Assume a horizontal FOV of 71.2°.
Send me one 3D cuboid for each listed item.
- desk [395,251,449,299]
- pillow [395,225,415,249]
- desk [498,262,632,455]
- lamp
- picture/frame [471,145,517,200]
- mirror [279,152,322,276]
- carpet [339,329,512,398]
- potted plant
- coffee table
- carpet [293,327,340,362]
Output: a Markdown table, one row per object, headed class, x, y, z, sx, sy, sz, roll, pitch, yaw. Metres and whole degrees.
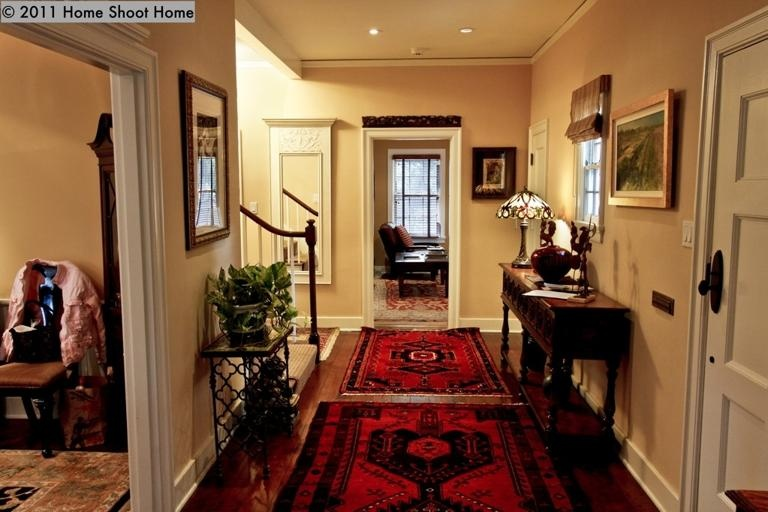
| class | x | y | z | sx | sy | sz | roll | pitch | yaw |
| --- | --- | --- | --- | --- | --- | --- | --- | --- | --- |
| desk | 0.620 | 0.283 | 9.102 | 0.886 | 0.673 | 1.520 | 1 | 11 | 3 |
| pillow | 0.359 | -0.344 | 9.715 | 0.120 | 0.382 | 0.406 | -21 | -10 | 26 |
| desk | 1.444 | 0.836 | 4.196 | 0.428 | 0.811 | 1.321 | 1 | 8 | 3 |
| lamp | 1.516 | -0.291 | 5.809 | 0.629 | 0.827 | 0.639 | 2 | 3 | 19 |
| picture/frame | 1.340 | -1.032 | 6.504 | 0.753 | 0.865 | 0.058 | 0 | 6 | -1 |
| mirror | -0.982 | -0.545 | 6.802 | 0.609 | 1.585 | 0.035 | -24 | 40 | -37 |
| carpet | 0.397 | 1.116 | 5.777 | 1.568 | 0.046 | 1.812 | 0 | 11 | 1 |
| potted plant | -0.901 | 0.368 | 3.841 | 0.497 | 0.367 | 0.480 | 8 | 4 | -3 |
| coffee table | -0.992 | 1.113 | 3.875 | 0.377 | 0.646 | 1.025 | -2 | 5 | -3 |
| carpet | -0.780 | 0.929 | 6.220 | 0.452 | 0.238 | 1.123 | 0 | 11 | 1 |
